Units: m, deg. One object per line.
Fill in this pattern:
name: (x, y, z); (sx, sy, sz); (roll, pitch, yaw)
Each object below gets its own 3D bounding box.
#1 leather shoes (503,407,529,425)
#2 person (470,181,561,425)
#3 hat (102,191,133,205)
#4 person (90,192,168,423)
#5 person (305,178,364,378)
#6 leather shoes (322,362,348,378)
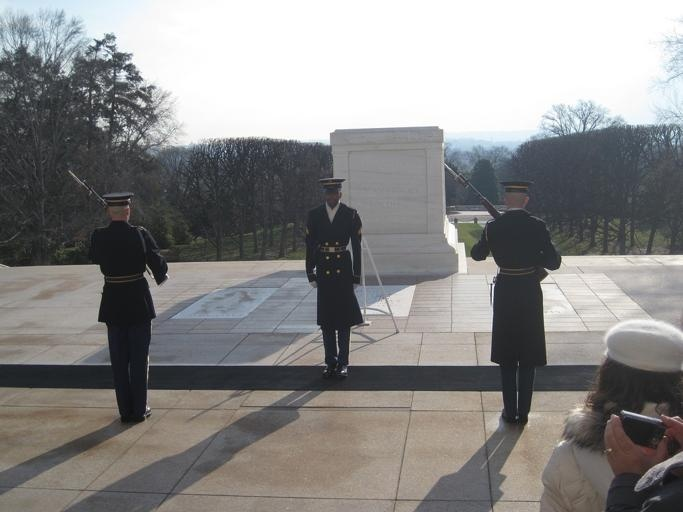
leather shoes: (1.399, 1.305, 6.200); (0.210, 0.108, 0.096); (3, 12, 21)
person: (1.424, 0.359, 6.296); (0.539, 1.922, 0.584); (-10, 14, -38)
hat: (-1.899, -0.477, 6.458); (0.242, 0.100, 0.241); (-4, 12, -15)
person: (-1.796, 0.423, 6.543); (0.467, 1.904, 0.520); (9, 15, 43)
person: (-0.078, 0.197, 7.380); (0.547, 1.863, 0.554); (-1, 11, 0)
leather shoes: (-0.066, 1.115, 7.348); (0.241, 0.108, 0.104); (-1, 6, 0)
